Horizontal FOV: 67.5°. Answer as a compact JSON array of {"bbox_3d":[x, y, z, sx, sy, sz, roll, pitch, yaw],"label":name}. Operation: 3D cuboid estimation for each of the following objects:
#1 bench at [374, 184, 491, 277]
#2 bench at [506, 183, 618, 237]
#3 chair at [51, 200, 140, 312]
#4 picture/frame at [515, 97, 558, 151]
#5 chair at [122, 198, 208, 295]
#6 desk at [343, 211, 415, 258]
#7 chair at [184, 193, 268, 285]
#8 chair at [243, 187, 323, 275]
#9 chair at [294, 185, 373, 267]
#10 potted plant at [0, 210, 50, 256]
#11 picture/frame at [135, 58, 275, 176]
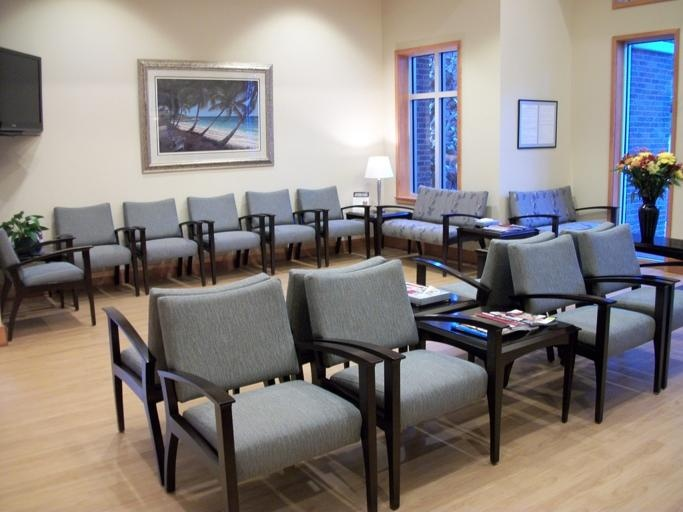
[{"bbox_3d":[1.230,-0.443,7.063,0.822,1.012,1.371,-7,13,-36],"label":"bench"},{"bbox_3d":[2.901,-0.478,6.764,1.246,0.911,0.761,-8,9,-25],"label":"bench"},{"bbox_3d":[-2.877,-0.074,6.053,1.034,1.453,1.069,-5,10,-35],"label":"chair"},{"bbox_3d":[2.658,-1.805,6.933,0.027,0.636,0.635,-15,20,-28],"label":"picture/frame"},{"bbox_3d":[-2.164,-0.180,6.221,0.856,1.023,0.815,6,14,40],"label":"chair"},{"bbox_3d":[0.553,-0.506,7.595,0.720,0.698,0.907,-5,8,-32],"label":"desk"},{"bbox_3d":[-1.586,-0.302,6.885,1.088,1.430,1.126,-6,11,-35],"label":"chair"},{"bbox_3d":[-0.872,-0.412,7.132,1.052,1.426,1.095,-6,11,-30],"label":"chair"},{"bbox_3d":[0.099,-0.514,7.614,1.119,1.455,1.113,-6,9,-32],"label":"chair"},{"bbox_3d":[-3.354,-0.247,5.409,0.567,0.568,0.569,-5,6,-30],"label":"potted plant"},{"bbox_3d":[-1.869,-1.868,6.707,1.650,1.258,0.062,-3,7,-32],"label":"picture/frame"}]
